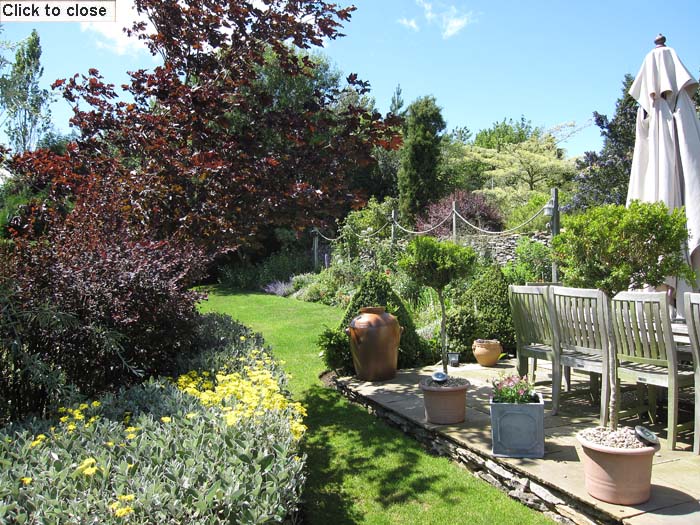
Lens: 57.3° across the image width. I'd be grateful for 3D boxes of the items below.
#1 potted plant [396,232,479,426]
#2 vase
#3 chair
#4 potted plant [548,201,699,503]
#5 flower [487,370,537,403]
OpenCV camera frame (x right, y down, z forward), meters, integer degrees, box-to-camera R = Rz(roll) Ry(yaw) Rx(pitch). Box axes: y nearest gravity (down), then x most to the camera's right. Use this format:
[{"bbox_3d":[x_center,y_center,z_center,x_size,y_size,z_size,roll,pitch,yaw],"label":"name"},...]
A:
[{"bbox_3d":[0.995,0.667,7.267,0.916,1.821,2.012,7,12,3],"label":"potted plant"},{"bbox_3d":[1.500,1.478,5.792,0.437,0.475,0.477,-1,-3,8],"label":"vase"},{"bbox_3d":[2.466,0.984,6.134,0.508,1.051,1.374,-2,2,-18],"label":"chair"},{"bbox_3d":[2.464,0.507,5.793,1.279,2.135,0.740,4,12,-9],"label":"potted plant"},{"bbox_3d":[1.542,1.147,5.982,0.256,0.191,0.275,-1,-5,36],"label":"flower"}]
